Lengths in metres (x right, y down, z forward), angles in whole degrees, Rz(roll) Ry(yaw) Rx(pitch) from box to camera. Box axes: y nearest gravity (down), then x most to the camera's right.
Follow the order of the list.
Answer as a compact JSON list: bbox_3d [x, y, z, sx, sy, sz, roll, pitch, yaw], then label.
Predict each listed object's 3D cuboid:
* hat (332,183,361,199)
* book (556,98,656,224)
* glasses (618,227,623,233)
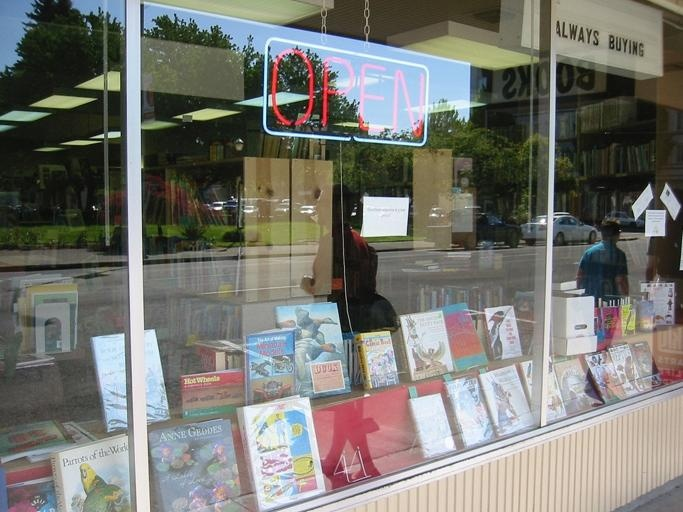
[{"bbox_3d":[0.017,-0.431,3.623,0.094,0.052,0.131,-7,13,-39],"label":"hat"},{"bbox_3d":[1.933,-0.691,4.088,0.269,0.919,0.803,-3,12,43],"label":"book"},{"bbox_3d":[2.171,-0.196,4.301,0.026,0.032,0.010,7,15,5],"label":"glasses"}]
